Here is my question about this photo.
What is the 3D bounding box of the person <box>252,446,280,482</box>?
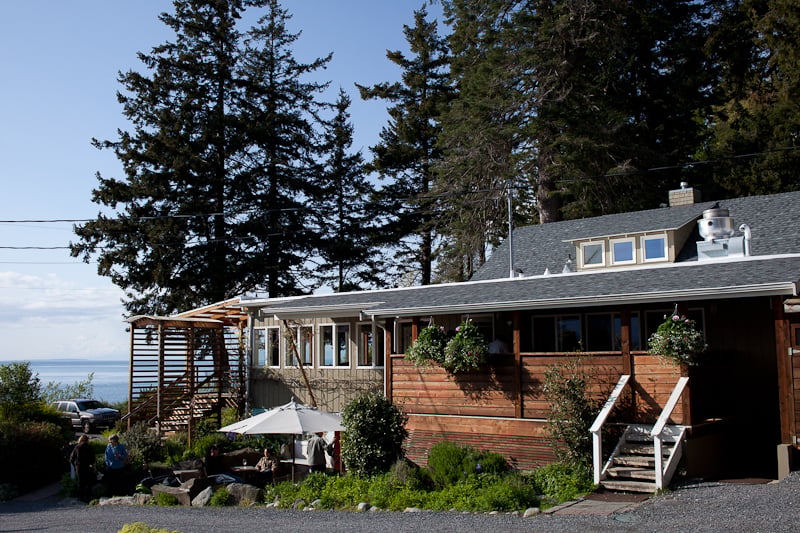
[{"bbox_3d":[-5.160,8.021,33.969,0.976,0.955,1.625,-17,33,5],"label":"person"}]

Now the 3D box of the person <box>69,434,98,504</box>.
[{"bbox_3d":[-12.654,8.019,34.503,0.894,2.537,1.468,0,-7,-24],"label":"person"}]

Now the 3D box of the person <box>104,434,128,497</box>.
[{"bbox_3d":[-11.444,7.986,34.826,0.818,2.320,0.880,-1,-7,-20],"label":"person"}]

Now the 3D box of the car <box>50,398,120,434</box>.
[{"bbox_3d":[-18.208,8.705,50.719,2.637,1.968,3.950,0,-8,-30],"label":"car"}]

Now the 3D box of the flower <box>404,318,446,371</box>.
[{"bbox_3d":[1.098,3.125,34.013,1.530,1.621,0.671,-4,-6,5],"label":"flower"}]
